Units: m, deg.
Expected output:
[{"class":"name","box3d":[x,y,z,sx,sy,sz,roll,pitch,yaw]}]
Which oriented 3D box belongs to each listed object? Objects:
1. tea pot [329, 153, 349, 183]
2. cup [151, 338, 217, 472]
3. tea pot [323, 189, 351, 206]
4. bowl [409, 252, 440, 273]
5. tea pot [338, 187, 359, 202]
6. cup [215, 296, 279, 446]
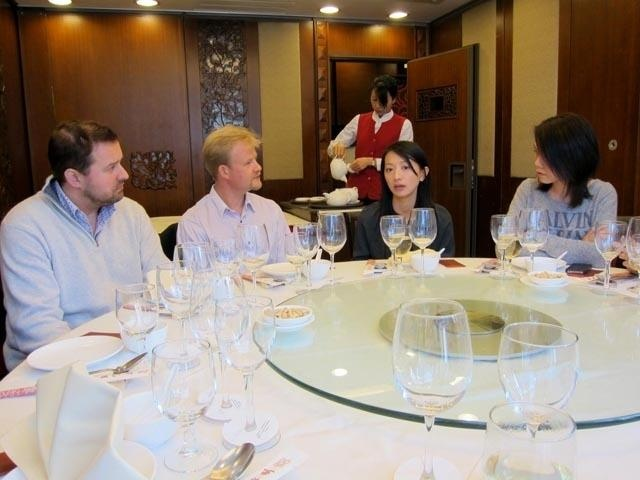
[{"class":"tea pot","box3d":[0.191,-0.641,4.616,0.150,0.224,0.322,-1,15,3]},{"class":"cup","box3d":[-0.269,0.320,1.002,0.114,0.225,0.154,-9,16,-28]},{"class":"tea pot","box3d":[0.149,-0.345,4.074,0.199,0.114,0.205,-2,15,0]},{"class":"bowl","box3d":[0.438,0.088,2.062,0.083,0.060,0.085,1,4,0]},{"class":"tea pot","box3d":[0.233,-0.373,4.112,0.137,0.116,0.104,22,22,36]},{"class":"cup","box3d":[-0.159,0.255,1.104,0.122,0.281,0.264,-4,15,-10]}]
